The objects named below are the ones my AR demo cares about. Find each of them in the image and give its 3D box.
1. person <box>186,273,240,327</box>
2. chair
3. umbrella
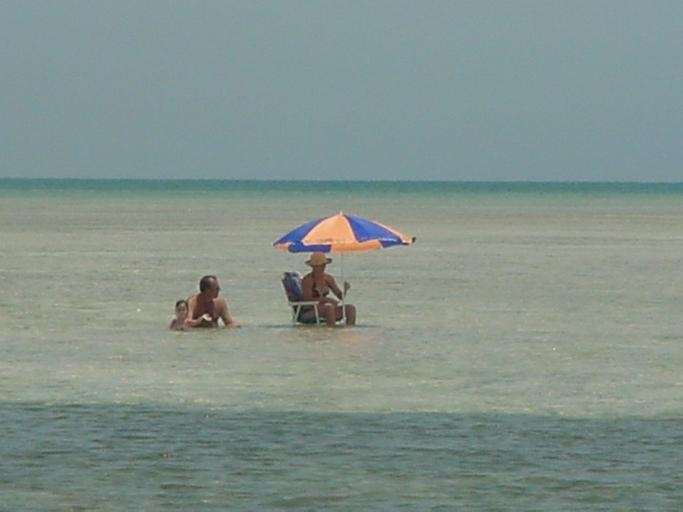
[{"bbox_3d":[-2.367,0.721,36.839,0.856,0.963,0.827,0,12,-18],"label":"person"},{"bbox_3d":[-0.491,0.753,37.612,1.231,1.153,0.864,0,1,1],"label":"chair"},{"bbox_3d":[-0.068,0.346,37.233,2.604,2.061,2.574,8,-6,-36],"label":"umbrella"}]
